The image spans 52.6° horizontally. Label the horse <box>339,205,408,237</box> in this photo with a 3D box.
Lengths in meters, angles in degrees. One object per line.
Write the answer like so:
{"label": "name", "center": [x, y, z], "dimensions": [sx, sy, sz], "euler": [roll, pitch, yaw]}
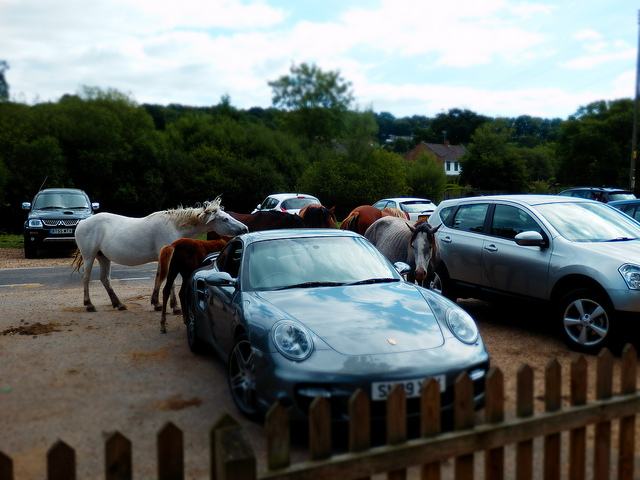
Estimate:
{"label": "horse", "center": [1.207, -0.457, 14.673], "dimensions": [0.993, 0.874, 1.427], "euler": [11, 11, 43]}

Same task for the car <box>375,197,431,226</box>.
{"label": "car", "center": [2.313, -0.783, 17.662], "dimensions": [0.821, 0.734, 1.919], "euler": [3, 10, -19]}

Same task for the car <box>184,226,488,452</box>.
{"label": "car", "center": [-0.173, 0.792, 7.128], "dimensions": [1.561, 1.153, 3.155], "euler": [-1, 6, -23]}

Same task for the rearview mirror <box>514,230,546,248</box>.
{"label": "rearview mirror", "center": [2.875, 0.003, 8.857], "dimensions": [0.369, 0.230, 0.313], "euler": [6, 11, 33]}

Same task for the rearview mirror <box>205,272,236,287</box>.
{"label": "rearview mirror", "center": [-1.111, 0.470, 7.294], "dimensions": [0.324, 0.182, 0.230], "euler": [-2, 9, -10]}

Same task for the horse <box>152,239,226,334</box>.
{"label": "horse", "center": [-1.906, 0.576, 10.246], "dimensions": [0.412, 1.315, 1.969], "euler": [5, -3, 21]}

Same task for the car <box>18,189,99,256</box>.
{"label": "car", "center": [-8.329, -0.574, 20.453], "dimensions": [1.531, 1.452, 2.865], "euler": [0, -1, -20]}

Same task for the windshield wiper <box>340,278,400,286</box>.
{"label": "windshield wiper", "center": [0.615, 0.476, 7.371], "dimensions": [0.681, 0.054, 0.085], "euler": [-4, 10, -23]}

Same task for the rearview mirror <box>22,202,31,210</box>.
{"label": "rearview mirror", "center": [-8.911, -1.016, 19.714], "dimensions": [0.312, 0.192, 0.558], "euler": [0, 13, -16]}

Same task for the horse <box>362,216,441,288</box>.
{"label": "horse", "center": [1.396, 0.398, 11.364], "dimensions": [0.675, 1.518, 2.720], "euler": [-1, 6, -14]}

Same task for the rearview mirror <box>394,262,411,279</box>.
{"label": "rearview mirror", "center": [1.027, 0.408, 8.148], "dimensions": [0.170, 0.266, 0.699], "euler": [1, 10, 10]}
